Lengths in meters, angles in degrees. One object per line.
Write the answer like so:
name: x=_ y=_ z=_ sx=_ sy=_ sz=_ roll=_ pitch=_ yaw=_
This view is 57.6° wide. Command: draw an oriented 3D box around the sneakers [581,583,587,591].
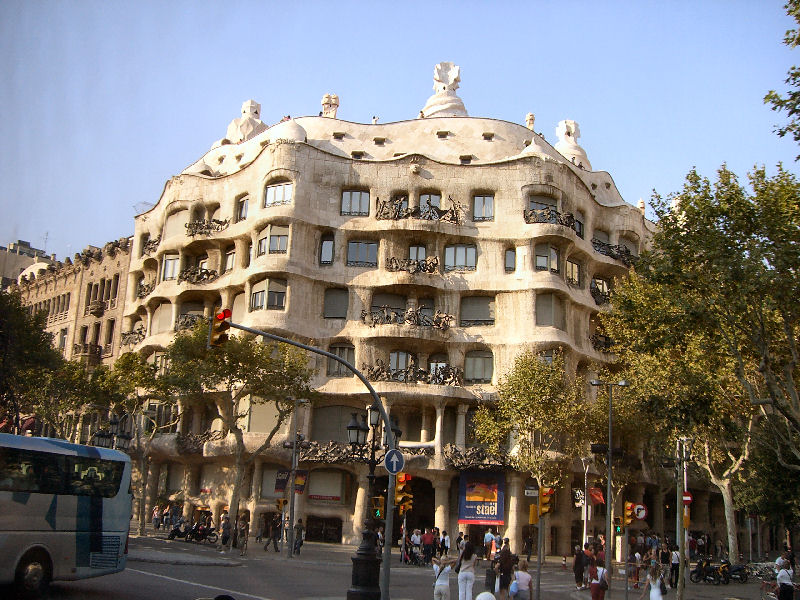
sneakers: x=8.053 y=12.443 z=31.593 sx=0.193 sy=0.219 sz=0.348 roll=2 pitch=1 yaw=18

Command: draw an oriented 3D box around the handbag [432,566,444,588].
handbag: x=1.037 y=7.323 z=19.285 sx=0.173 sy=0.466 sz=0.622 roll=4 pitch=-18 yaw=-2

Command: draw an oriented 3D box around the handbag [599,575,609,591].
handbag: x=6.542 y=9.026 z=23.189 sx=0.109 sy=0.349 sz=0.355 roll=-12 pitch=-23 yaw=39

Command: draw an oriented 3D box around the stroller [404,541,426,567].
stroller: x=1.137 y=14.556 z=41.586 sx=1.043 sy=1.572 sz=1.352 roll=3 pitch=-32 yaw=-6
